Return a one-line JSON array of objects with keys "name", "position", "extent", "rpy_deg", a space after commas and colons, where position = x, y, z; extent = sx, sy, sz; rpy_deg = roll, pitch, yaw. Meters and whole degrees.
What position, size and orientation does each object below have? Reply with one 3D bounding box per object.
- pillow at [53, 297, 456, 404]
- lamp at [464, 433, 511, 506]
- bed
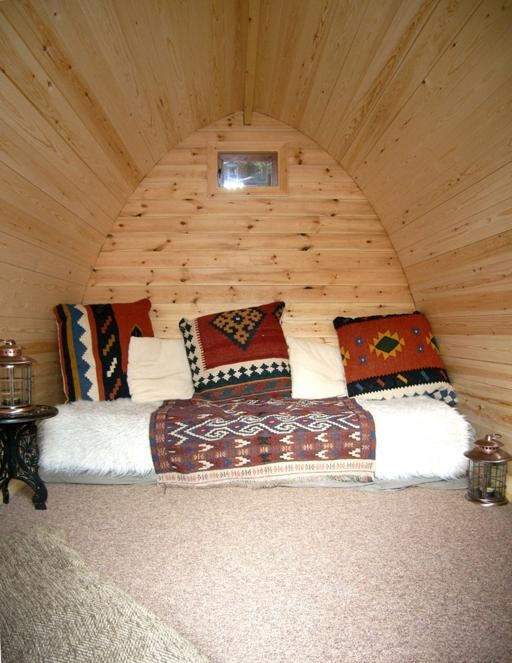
[{"name": "pillow", "position": [-0.023, 0.089, 2.811], "extent": [2.058, 0.537, 0.470], "rpy_deg": [0, 5, 3]}, {"name": "lamp", "position": [0.918, 0.540, 2.047], "extent": [0.161, 0.259, 0.264], "rpy_deg": [1, 6, 22]}, {"name": "bed", "position": [0.014, 0.468, 2.219], "extent": [1.346, 0.230, 0.635], "rpy_deg": [0, 2, -3]}]
